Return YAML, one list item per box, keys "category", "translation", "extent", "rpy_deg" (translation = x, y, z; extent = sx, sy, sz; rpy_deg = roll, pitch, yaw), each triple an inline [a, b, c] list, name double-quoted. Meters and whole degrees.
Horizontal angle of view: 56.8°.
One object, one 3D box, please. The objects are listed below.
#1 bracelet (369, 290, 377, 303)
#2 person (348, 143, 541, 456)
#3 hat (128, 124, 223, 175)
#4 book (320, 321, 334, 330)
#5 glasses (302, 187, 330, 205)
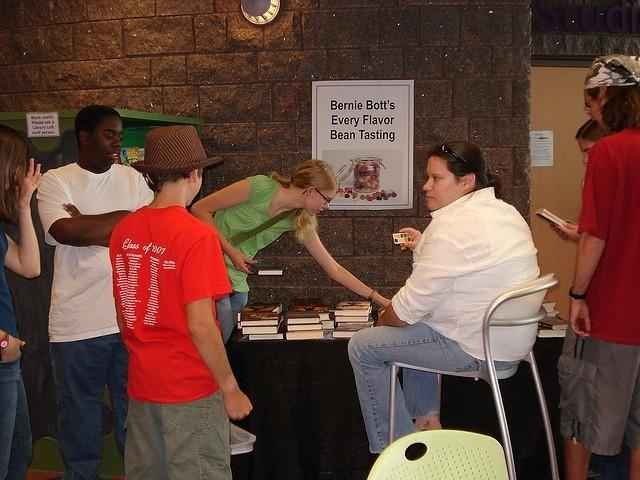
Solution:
- category: "bracelet"
  translation: [0.352, 0.368, 3.834]
  extent: [0.033, 0.082, 0.025]
  rpy_deg: [7, 6, 17]
- category: "person"
  translation: [0.744, 0.358, 3.297]
  extent: [0.958, 1.665, 0.835]
  rpy_deg: [2, 4, 29]
- category: "hat"
  translation: [-0.643, -0.431, 2.687]
  extent: [0.244, 0.107, 0.289]
  rpy_deg: [1, 11, 25]
- category: "book"
  translation: [0.044, 0.527, 3.674]
  extent: [0.060, 0.038, 0.060]
  rpy_deg: [0, 4, 2]
- category: "glasses"
  translation: [-0.008, -0.276, 3.684]
  extent: [0.122, 0.037, 0.096]
  rpy_deg: [37, 7, 37]
